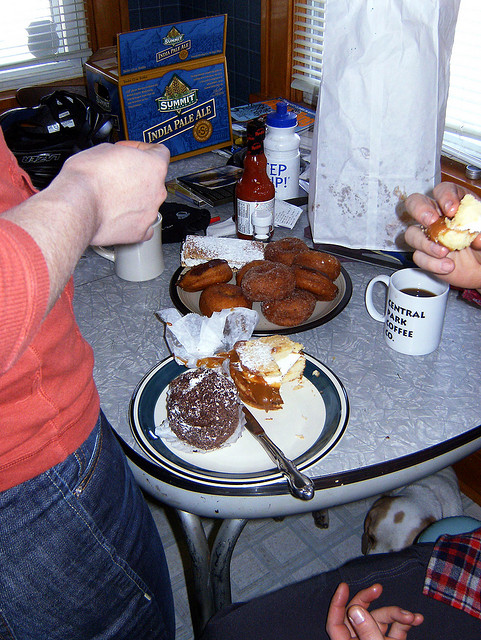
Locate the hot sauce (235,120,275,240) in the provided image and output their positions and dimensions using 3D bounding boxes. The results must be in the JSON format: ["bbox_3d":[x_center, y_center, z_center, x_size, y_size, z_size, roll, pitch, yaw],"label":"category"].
[{"bbox_3d":[0.023,-0.274,1.036,0.086,0.226,0.107,11,39,11],"label":"hot sauce"}]

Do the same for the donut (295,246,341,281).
[{"bbox_3d":[0.129,-0.099,0.855,0.057,0.018,0.055,12,31,-12],"label":"donut"}]

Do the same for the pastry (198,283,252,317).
[{"bbox_3d":[-0.021,-0.038,0.846,0.088,0.047,0.079,-19,32,-32],"label":"pastry"}]

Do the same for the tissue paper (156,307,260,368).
[{"bbox_3d":[-0.058,0.020,0.765,0.118,0.077,0.125,24,37,36],"label":"tissue paper"}]

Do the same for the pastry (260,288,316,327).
[{"bbox_3d":[0.082,-0.019,0.776,0.062,0.021,0.059,-24,41,-27],"label":"pastry"}]

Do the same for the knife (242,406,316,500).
[{"bbox_3d":[0.032,0.136,0.550,0.024,0.015,0.161,-21,32,-17],"label":"knife"}]

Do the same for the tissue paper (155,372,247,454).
[{"bbox_3d":[-0.046,0.109,0.602,0.118,0.030,0.104,-14,35,-17],"label":"tissue paper"}]

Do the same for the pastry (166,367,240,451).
[{"bbox_3d":[-0.043,0.105,0.586,0.061,0.047,0.080,-16,32,-25],"label":"pastry"}]

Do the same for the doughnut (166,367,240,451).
[{"bbox_3d":[-0.043,0.106,0.586,0.061,0.048,0.081,-16,32,-25],"label":"doughnut"}]

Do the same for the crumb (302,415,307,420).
[{"bbox_3d":[0.076,0.115,0.603,0.003,0.001,0.003,-4,34,1],"label":"crumb"}]

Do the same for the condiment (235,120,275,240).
[{"bbox_3d":[0.019,-0.281,1.024,0.098,0.244,0.100,16,21,38],"label":"condiment"}]

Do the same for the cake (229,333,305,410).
[{"bbox_3d":[0.035,0.053,0.680,0.107,0.040,0.130,10,29,16],"label":"cake"}]

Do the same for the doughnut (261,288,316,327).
[{"bbox_3d":[0.078,-0.020,0.793,0.080,0.040,0.058,-16,36,-19],"label":"doughnut"}]

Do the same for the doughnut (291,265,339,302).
[{"bbox_3d":[0.120,-0.058,0.815,0.058,0.056,0.019,36,80,1],"label":"doughnut"}]

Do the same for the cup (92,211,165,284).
[{"bbox_3d":[-0.180,-0.136,0.976,0.170,0.109,0.099,-14,45,-10],"label":"cup"}]

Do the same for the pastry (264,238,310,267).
[{"bbox_3d":[0.081,-0.125,0.900,0.061,0.020,0.059,-14,35,-5],"label":"pastry"}]

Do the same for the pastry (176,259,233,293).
[{"bbox_3d":[-0.060,-0.067,0.868,0.082,0.034,0.049,-21,2,-3],"label":"pastry"}]

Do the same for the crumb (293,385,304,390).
[{"bbox_3d":[0.072,0.085,0.644,0.012,0.003,0.005,-10,34,-11],"label":"crumb"}]
